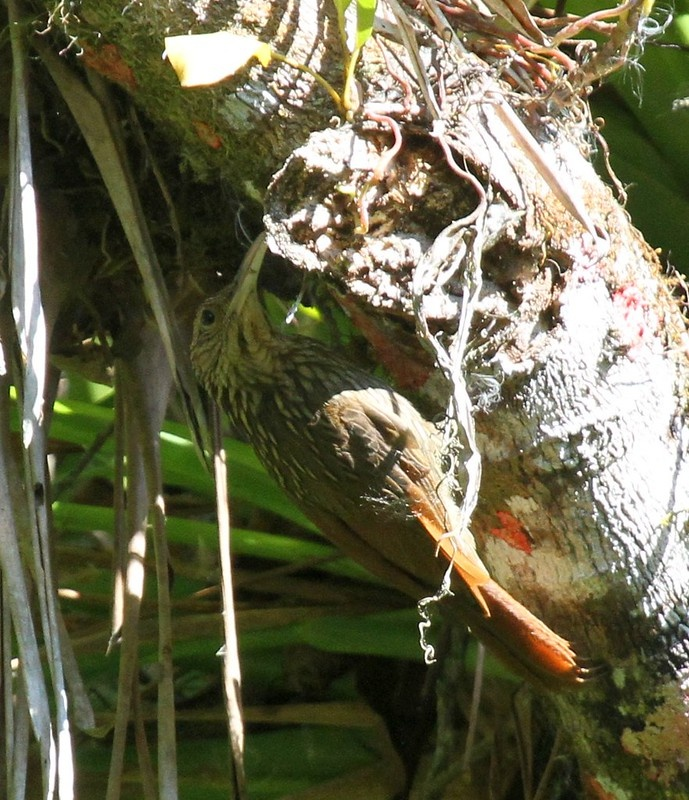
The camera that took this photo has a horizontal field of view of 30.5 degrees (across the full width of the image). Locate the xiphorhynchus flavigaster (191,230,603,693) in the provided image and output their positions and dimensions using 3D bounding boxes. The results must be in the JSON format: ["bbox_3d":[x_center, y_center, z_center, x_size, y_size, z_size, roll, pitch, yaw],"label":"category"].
[{"bbox_3d":[0.153,0.149,2.063,0.950,0.289,0.607,33,-25,38],"label":"xiphorhynchus flavigaster"}]
